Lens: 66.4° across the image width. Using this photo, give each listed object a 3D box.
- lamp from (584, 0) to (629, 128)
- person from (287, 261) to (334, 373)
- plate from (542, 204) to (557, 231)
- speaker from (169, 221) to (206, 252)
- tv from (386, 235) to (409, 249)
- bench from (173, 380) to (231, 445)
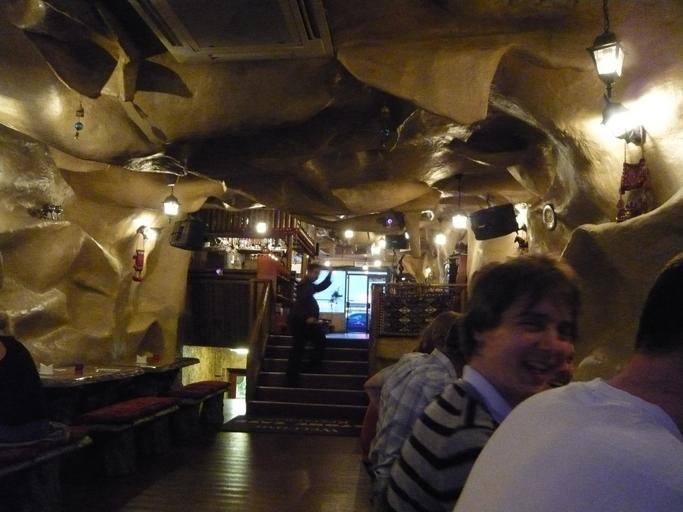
[{"bbox_3d":[2.223,-1.621,4.372,0.253,1.143,0.697,-1,-5,28],"label":"lamp"},{"bbox_3d":[-0.602,1.280,10.023,0.681,2.224,0.742,-3,-6,41],"label":"person"},{"bbox_3d":[2.784,-0.518,6.980,0.166,0.325,0.621,-1,-4,22],"label":"plate"},{"bbox_3d":[-3.018,-0.460,10.419,0.712,0.460,0.386,-5,-13,37],"label":"speaker"},{"bbox_3d":[1.422,-0.329,13.277,0.625,0.314,0.404,-2,-4,8],"label":"tv"},{"bbox_3d":[-2.388,2.601,8.817,0.717,0.716,1.366,1,-4,0],"label":"bench"}]
